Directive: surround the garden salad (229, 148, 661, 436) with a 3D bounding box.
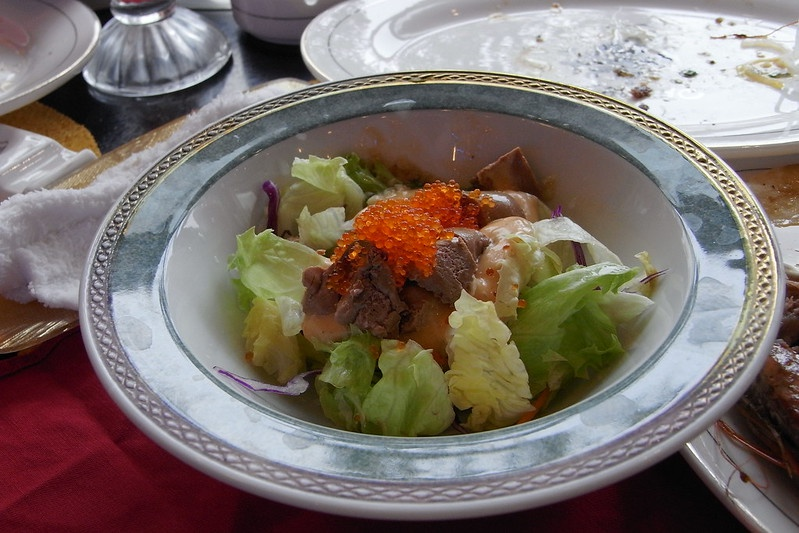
[{"bbox_3d":[0.076,0.113,1.222,0.672,0.229,0.620,7,44,10],"label":"garden salad"}]
